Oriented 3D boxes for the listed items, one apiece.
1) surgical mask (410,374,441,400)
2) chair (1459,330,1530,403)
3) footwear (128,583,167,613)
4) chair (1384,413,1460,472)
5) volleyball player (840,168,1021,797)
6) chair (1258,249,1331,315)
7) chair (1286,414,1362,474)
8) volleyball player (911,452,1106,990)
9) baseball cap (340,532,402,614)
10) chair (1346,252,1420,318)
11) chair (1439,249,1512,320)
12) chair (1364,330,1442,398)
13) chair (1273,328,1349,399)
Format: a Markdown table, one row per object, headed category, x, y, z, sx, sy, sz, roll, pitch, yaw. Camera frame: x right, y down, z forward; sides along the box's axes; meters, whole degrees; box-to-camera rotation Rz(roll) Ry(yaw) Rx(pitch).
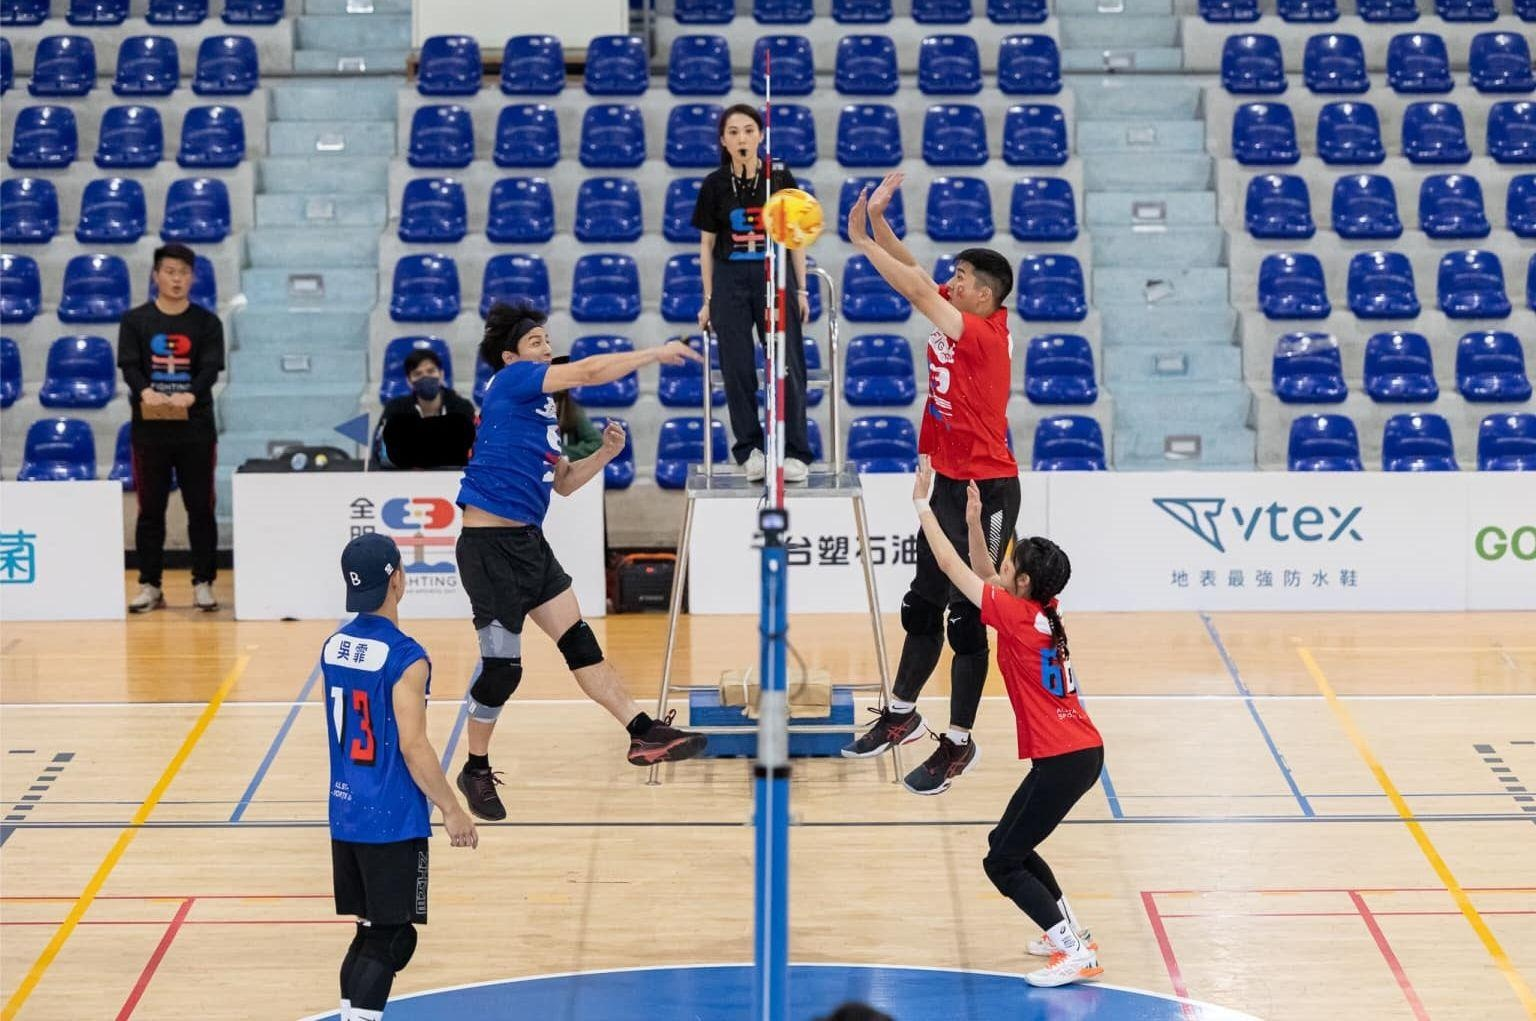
| category | x | y | z | sx | sy | sz | roll | pitch | yaw |
| --- | --- | --- | --- | --- | --- | --- | --- | --- | --- |
| surgical mask | -2.596 | -0.940 | 15.341 | 0.194 | 0.142 | 0.184 | -1 | 2 | -2 |
| chair | 6.241 | -1.258 | 17.489 | 0.676 | 0.528 | 0.605 | 0 | 9 | 0 |
| footwear | -4.860 | 0.679 | 15.787 | 0.144 | 0.155 | 0.345 | 0 | 2 | 20 |
| chair | 5.439 | -0.566 | 16.668 | 0.637 | 0.413 | 0.532 | -1 | 4 | 3 |
| volleyball player | 1.224 | -0.142 | 12.523 | 1.260 | 3.711 | 1.094 | 1 | -6 | -15 |
| chair | 4.664 | -1.980 | 17.737 | 0.619 | 0.560 | 0.387 | 0 | -40 | 3 |
| chair | 4.680 | -0.555 | 16.802 | 0.641 | 0.404 | 0.510 | 0 | 1 | 4 |
| volleyball player | 1.469 | 1.266 | 11.576 | 0.850 | 2.892 | 0.619 | 1 | 6 | 38 |
| baseball cap | -2.091 | 0.321 | 10.647 | 0.303 | 0.427 | 0.228 | 3 | -31 | 6 |
| chair | 5.489 | -1.998 | 17.837 | 0.584 | 0.607 | 0.320 | -1 | 5 | 16 |
| chair | 6.254 | -1.997 | 17.931 | 0.657 | 0.510 | 0.604 | 1 | 18 | 2 |
| chair | 5.493 | -1.239 | 17.384 | 0.582 | 0.610 | 0.407 | -1 | 5 | 13 |
| chair | 4.692 | -1.270 | 17.342 | 0.668 | 0.513 | 0.590 | 0 | 7 | 3 |
